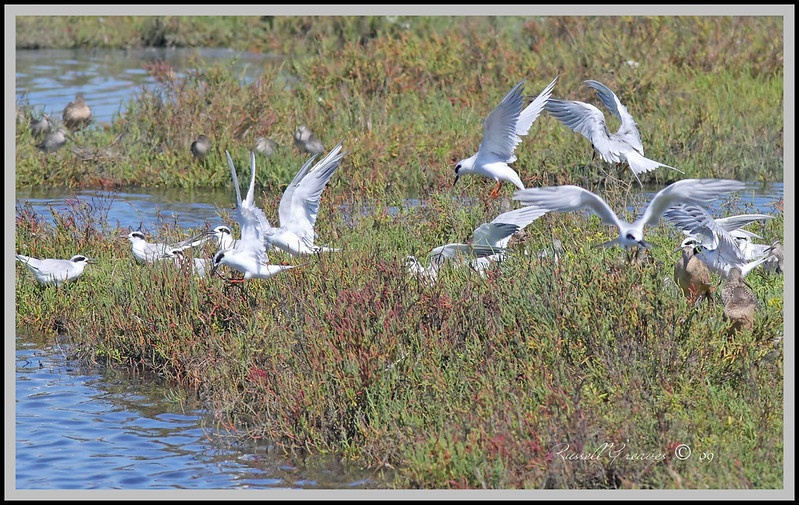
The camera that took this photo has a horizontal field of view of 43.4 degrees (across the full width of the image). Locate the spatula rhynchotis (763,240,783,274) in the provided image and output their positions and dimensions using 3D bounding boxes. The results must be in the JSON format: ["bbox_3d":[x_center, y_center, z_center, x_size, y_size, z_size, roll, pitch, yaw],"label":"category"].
[{"bbox_3d":[5.587,0.101,14.890,0.206,0.559,0.243,-6,23,-8],"label":"spatula rhynchotis"}]

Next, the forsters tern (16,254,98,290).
[{"bbox_3d":[-5.356,0.264,15.689,1.128,0.505,0.446,-4,12,-16],"label":"forsters tern"}]

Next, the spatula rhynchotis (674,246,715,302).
[{"bbox_3d":[3.979,0.299,13.764,0.429,0.753,0.627,0,1,4],"label":"spatula rhynchotis"}]
